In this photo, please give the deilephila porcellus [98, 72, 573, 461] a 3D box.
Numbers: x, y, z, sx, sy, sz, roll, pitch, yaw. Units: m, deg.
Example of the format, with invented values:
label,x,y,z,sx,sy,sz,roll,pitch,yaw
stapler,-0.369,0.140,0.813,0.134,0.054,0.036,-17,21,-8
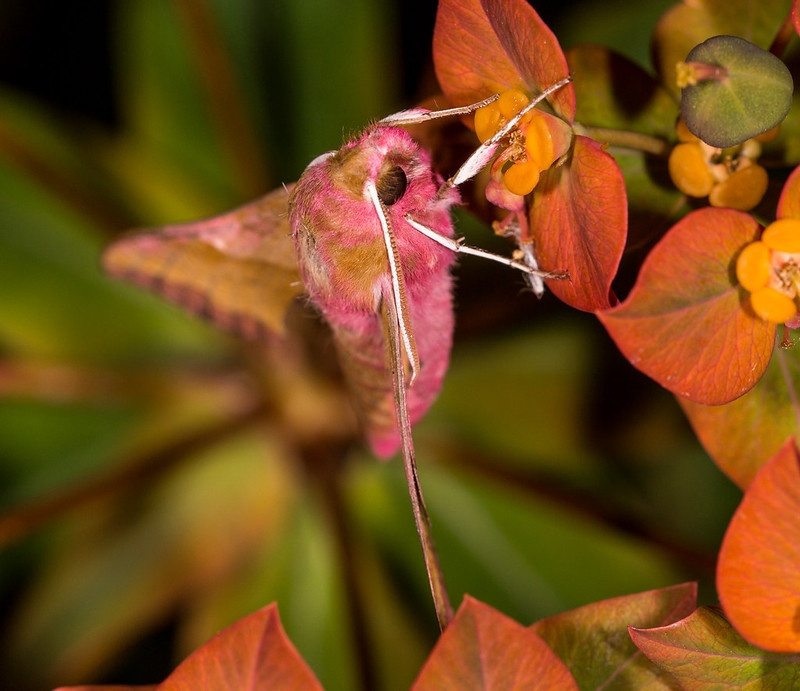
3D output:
label,x,y,z,sx,sy,sz,roll,pitch,yaw
deilephila porcellus,-0.028,-0.042,0.531,0.222,0.091,0.205,16,92,37
